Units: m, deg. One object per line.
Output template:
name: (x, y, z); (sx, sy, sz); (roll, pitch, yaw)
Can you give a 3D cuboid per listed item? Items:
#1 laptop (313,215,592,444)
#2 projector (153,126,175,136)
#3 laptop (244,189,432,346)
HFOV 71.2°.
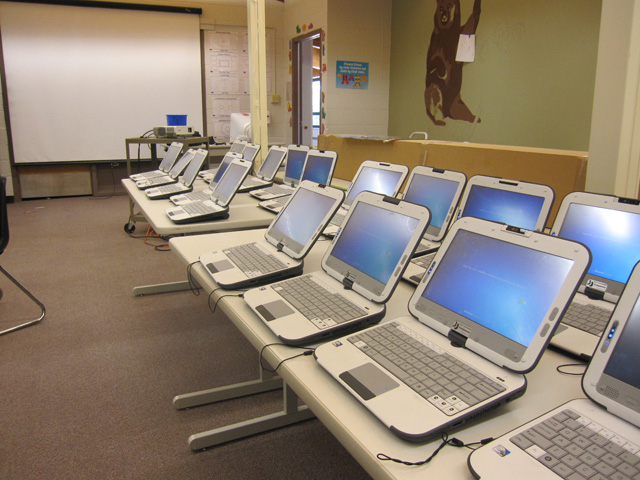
laptop: (0.337, 0.241, 1.186); (0.565, 0.355, 0.512); (-16, 26, -20)
projector: (-2.089, -1.445, 5.985); (0.266, 0.123, 0.172); (-4, 21, -11)
laptop: (0.058, 0.111, 1.533); (0.543, 0.380, 0.465); (-10, 20, -26)
